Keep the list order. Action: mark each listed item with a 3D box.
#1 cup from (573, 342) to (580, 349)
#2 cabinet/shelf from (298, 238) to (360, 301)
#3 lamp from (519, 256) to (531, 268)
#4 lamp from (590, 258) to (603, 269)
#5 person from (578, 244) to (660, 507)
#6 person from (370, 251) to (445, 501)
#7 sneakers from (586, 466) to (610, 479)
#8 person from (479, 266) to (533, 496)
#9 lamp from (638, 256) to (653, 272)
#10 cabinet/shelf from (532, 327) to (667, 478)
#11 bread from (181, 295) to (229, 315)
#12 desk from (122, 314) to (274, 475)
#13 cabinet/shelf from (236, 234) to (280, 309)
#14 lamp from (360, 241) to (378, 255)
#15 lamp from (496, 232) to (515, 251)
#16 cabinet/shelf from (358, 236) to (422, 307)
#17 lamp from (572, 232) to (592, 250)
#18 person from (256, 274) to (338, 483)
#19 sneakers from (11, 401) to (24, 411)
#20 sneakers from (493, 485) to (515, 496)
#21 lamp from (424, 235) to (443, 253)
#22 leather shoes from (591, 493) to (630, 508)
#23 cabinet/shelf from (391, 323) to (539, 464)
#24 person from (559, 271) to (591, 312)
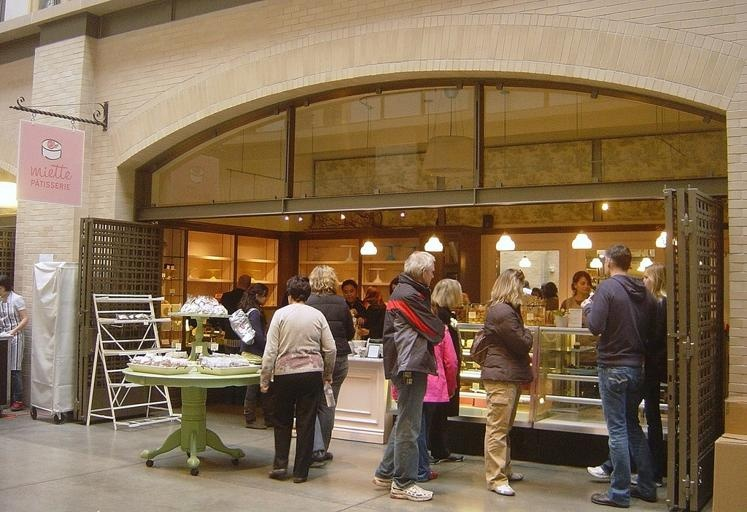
[{"bbox_3d":[2.474,1.086,7.883,0.067,0.094,0.066,0,0,0],"label":"cup"},{"bbox_3d":[-0.771,0.213,12.316,1.344,1.242,0.429,-1,-4,20],"label":"cabinet/shelf"},{"bbox_3d":[3.298,0.115,14.052,0.231,0.216,0.071,5,12,34],"label":"lamp"},{"bbox_3d":[4.606,0.152,13.382,0.201,0.140,0.199,1,-5,-35],"label":"lamp"},{"bbox_3d":[2.669,1.253,6.978,0.812,2.743,0.459,-1,1,-30],"label":"person"},{"bbox_3d":[0.418,1.281,6.945,0.583,2.638,0.330,0,1,-16],"label":"person"},{"bbox_3d":[2.595,2.508,7.522,0.267,0.106,0.123,2,11,13],"label":"sneakers"},{"bbox_3d":[1.477,1.378,7.194,0.550,2.423,0.400,0,1,13],"label":"person"},{"bbox_3d":[4.830,0.126,11.490,0.294,0.199,0.298,-3,-1,38],"label":"lamp"},{"bbox_3d":[2.641,1.700,7.420,1.772,1.667,0.833,-3,-5,37],"label":"cabinet/shelf"},{"bbox_3d":[-2.060,0.609,7.890,0.534,0.228,0.322,0,1,-19],"label":"bread"},{"bbox_3d":[-2.227,1.652,7.987,1.636,1.737,1.648,0,-14,7],"label":"desk"},{"bbox_3d":[-2.459,0.285,13.603,0.477,1.528,1.641,-4,-6,43],"label":"cabinet/shelf"},{"bbox_3d":[-0.103,-0.172,14.174,0.332,0.244,0.334,-1,1,9],"label":"lamp"},{"bbox_3d":[2.708,-0.288,13.167,0.387,0.347,0.383,-4,6,-26],"label":"lamp"},{"bbox_3d":[0.289,0.220,11.880,1.469,1.370,0.444,0,-3,15],"label":"cabinet/shelf"},{"bbox_3d":[4.113,-0.283,12.652,0.391,0.304,0.392,-2,1,3],"label":"lamp"},{"bbox_3d":[-0.860,1.402,7.396,0.846,2.308,0.380,0,1,-11],"label":"person"},{"bbox_3d":[-5.839,2.456,10.658,0.248,0.105,0.084,7,-6,-23],"label":"sneakers"},{"bbox_3d":[1.423,2.541,7.086,0.100,0.084,0.208,4,-10,-38],"label":"sneakers"},{"bbox_3d":[1.282,-0.236,13.280,0.345,0.324,0.349,7,10,41],"label":"lamp"},{"bbox_3d":[2.507,2.539,6.824,0.309,0.123,0.151,5,-2,40],"label":"leather shoes"},{"bbox_3d":[1.069,1.582,7.420,1.632,2.241,1.145,-3,-9,32],"label":"cabinet/shelf"},{"bbox_3d":[3.314,0.602,10.338,0.708,0.707,0.374,1,-3,-9],"label":"person"}]
